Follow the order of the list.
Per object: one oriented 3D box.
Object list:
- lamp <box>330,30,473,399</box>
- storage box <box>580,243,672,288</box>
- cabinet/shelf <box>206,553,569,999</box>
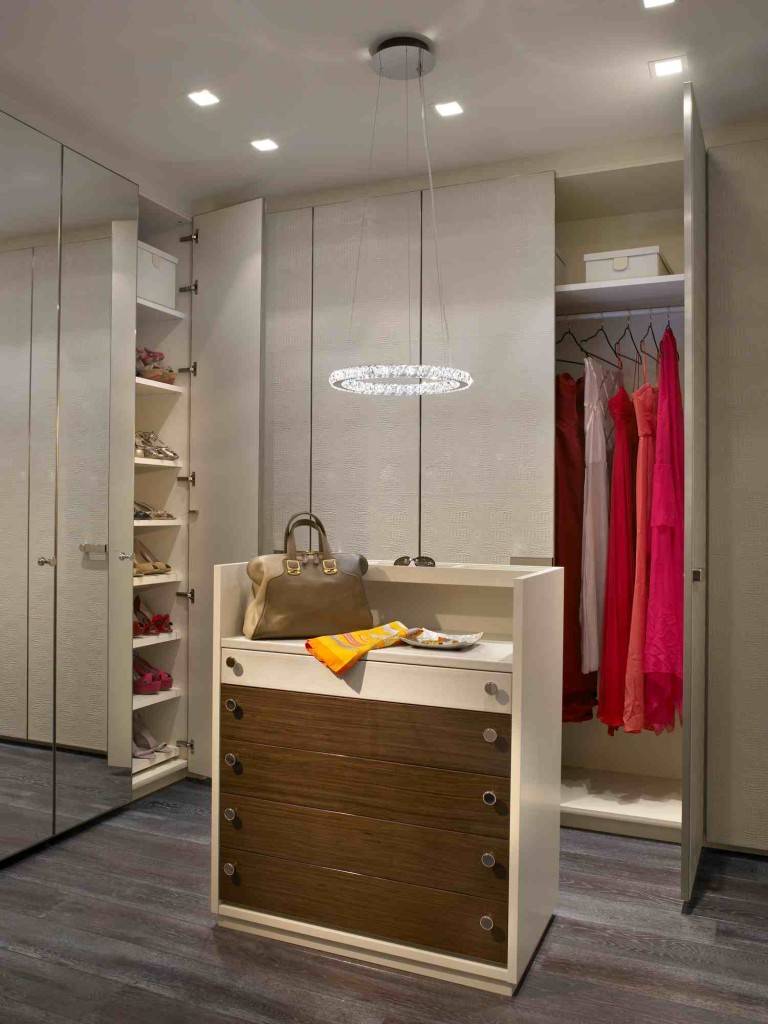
[{"bbox_3d":[0.080,-0.853,2.732,0.418,1.011,0.940,0,-1,6],"label":"lamp"},{"bbox_3d":[0.880,-0.912,3.046,0.255,0.114,0.258,2,10,32],"label":"storage box"},{"bbox_3d":[0.031,0.624,2.317,0.867,1.034,0.524,0,-2,23],"label":"cabinet/shelf"}]
